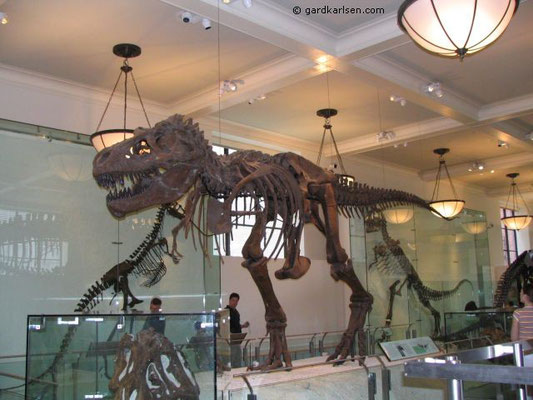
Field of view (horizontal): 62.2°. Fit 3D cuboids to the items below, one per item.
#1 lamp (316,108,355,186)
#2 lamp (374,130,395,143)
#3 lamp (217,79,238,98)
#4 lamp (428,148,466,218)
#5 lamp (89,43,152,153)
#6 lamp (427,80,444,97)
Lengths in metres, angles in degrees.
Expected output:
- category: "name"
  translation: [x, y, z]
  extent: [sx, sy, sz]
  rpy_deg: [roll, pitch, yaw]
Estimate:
- category: "lamp"
  translation: [1.286, -1.029, 8.587]
  extent: [0.846, 1.366, 0.800]
  rpy_deg: [-8, 5, 13]
- category: "lamp"
  translation: [2.513, -1.349, 9.330]
  extent: [0.338, 0.194, 0.124]
  rpy_deg: [1, 8, 24]
- category: "lamp"
  translation: [-0.605, -1.830, 7.090]
  extent: [0.290, 0.246, 0.357]
  rpy_deg: [-3, -10, -2]
- category: "lamp"
  translation: [3.794, -0.321, 9.432]
  extent: [0.608, 1.700, 2.488]
  rpy_deg: [-7, -11, 22]
- category: "lamp"
  translation: [-2.167, -1.338, 6.579]
  extent: [0.825, 1.433, 1.693]
  rpy_deg: [0, -11, -16]
- category: "lamp"
  translation: [2.711, -1.762, 7.144]
  extent: [0.221, 0.291, 0.125]
  rpy_deg: [-4, -12, -13]
